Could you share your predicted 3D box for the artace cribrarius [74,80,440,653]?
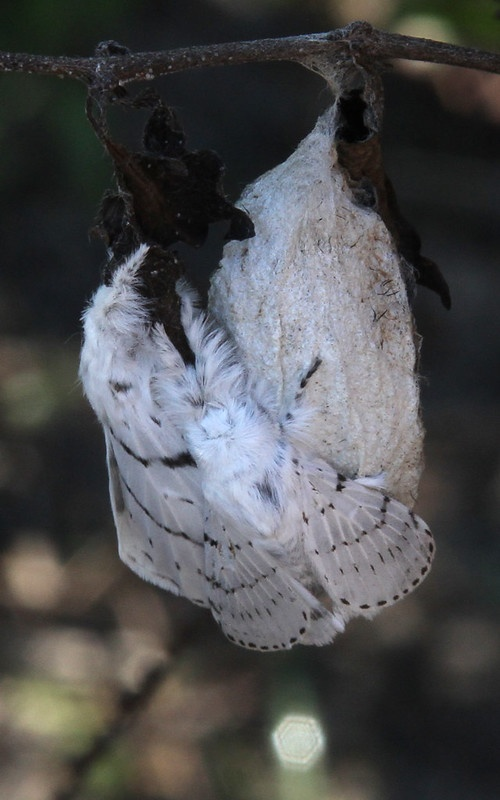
[{"bbox_3d":[0.004,-0.001,1.014,0.355,0.505,0.149,17,33,23],"label":"artace cribrarius"}]
